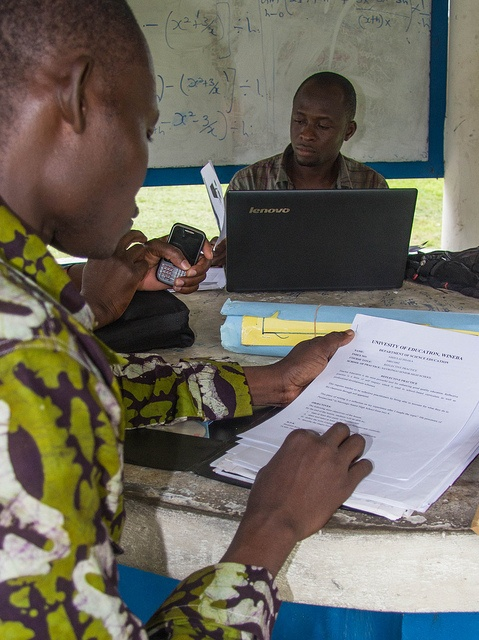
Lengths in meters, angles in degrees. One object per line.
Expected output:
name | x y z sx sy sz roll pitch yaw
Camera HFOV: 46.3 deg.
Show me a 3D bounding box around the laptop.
laptop | 0.177 -0.196 1.166 0.376 0.221 0.247 0 26 -2
